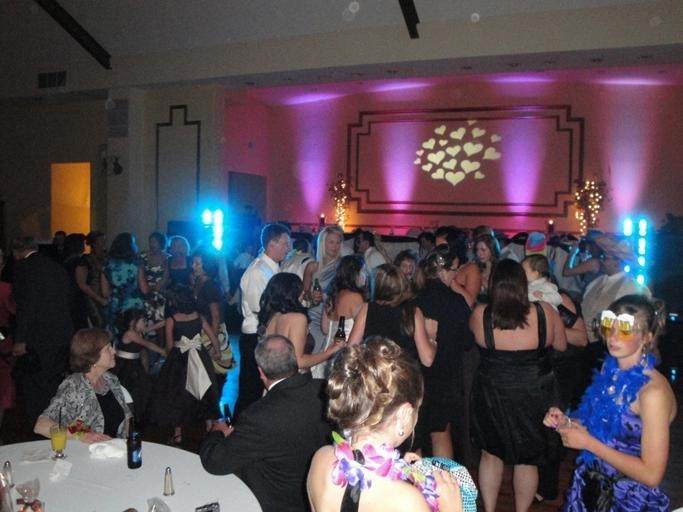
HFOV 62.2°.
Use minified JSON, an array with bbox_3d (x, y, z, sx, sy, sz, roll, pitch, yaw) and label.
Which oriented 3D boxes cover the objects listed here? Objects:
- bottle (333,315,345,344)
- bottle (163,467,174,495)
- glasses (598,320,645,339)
[{"bbox_3d":[-0.012,0.530,4.192,0.083,0.175,0.175,1,0,1],"label":"bottle"},{"bbox_3d":[-0.974,1.253,3.201,0.061,0.153,0.126,1,1,-18],"label":"bottle"},{"bbox_3d":[1.556,0.385,3.168,0.208,0.152,0.069,1,1,28],"label":"glasses"}]
